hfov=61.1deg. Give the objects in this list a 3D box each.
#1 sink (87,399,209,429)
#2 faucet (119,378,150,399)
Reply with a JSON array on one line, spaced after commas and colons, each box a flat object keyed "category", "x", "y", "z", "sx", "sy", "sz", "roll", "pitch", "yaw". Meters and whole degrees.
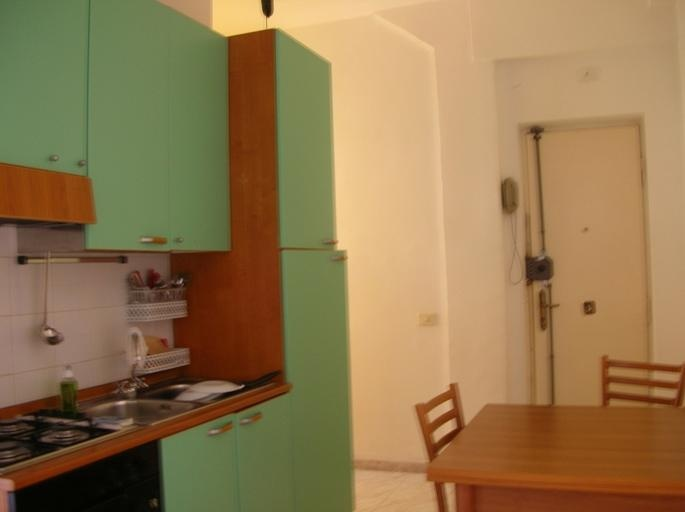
[{"category": "sink", "x": -1.059, "y": 0.756, "z": 2.847, "sx": 0.223, "sy": 0.108, "sz": 0.283, "roll": -1, "pitch": -5, "yaw": 33}, {"category": "faucet", "x": -1.094, "y": 0.681, "z": 3.024, "sx": 0.157, "sy": 0.089, "sz": 0.136, "roll": -3, "pitch": -2, "yaw": -20}]
